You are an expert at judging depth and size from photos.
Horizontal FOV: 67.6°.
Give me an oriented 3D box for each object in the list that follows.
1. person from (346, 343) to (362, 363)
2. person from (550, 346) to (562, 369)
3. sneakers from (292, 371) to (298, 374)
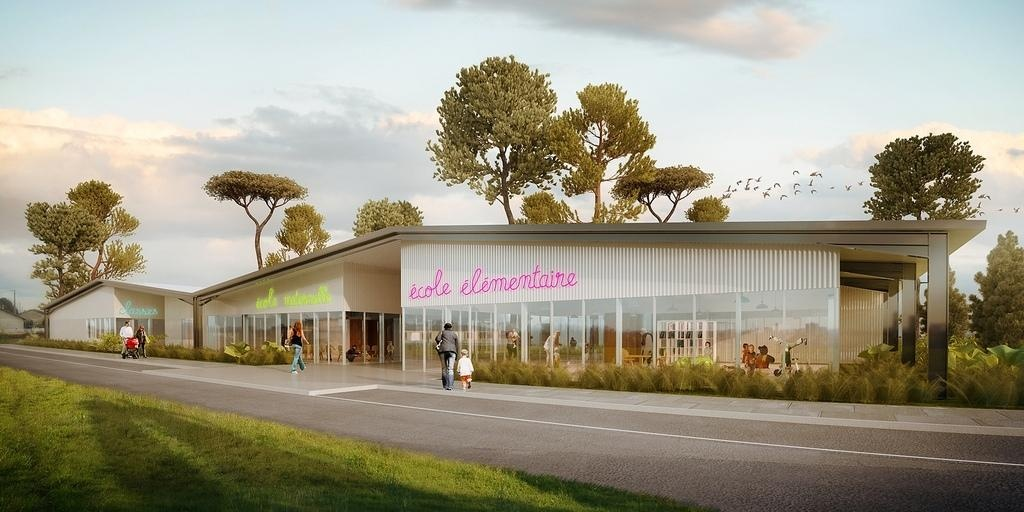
[{"bbox_3d":[-11.001,6.620,52.353,0.531,1.248,1.072,-1,-4,29],"label":"person"},{"bbox_3d":[2.333,5.431,42.278,0.594,0.944,0.177,-2,-5,41],"label":"person"},{"bbox_3d":[-13.056,6.930,45.830,0.172,0.250,0.378,2,1,34],"label":"sneakers"}]
